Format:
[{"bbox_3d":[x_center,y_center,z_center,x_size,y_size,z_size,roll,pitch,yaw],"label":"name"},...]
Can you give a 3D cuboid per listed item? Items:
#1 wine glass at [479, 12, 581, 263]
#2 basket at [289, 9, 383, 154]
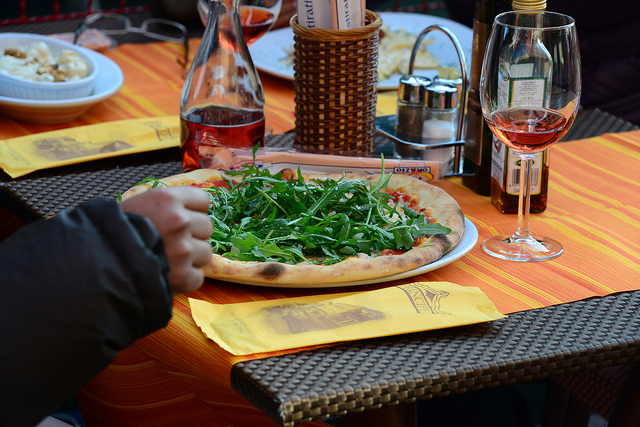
[{"bbox_3d":[0.316,-0.116,0.712,0.151,0.334,0.205,3,28,7],"label":"wine glass"},{"bbox_3d":[0.029,-0.251,0.985,0.161,0.228,0.168,16,28,34],"label":"basket"}]
